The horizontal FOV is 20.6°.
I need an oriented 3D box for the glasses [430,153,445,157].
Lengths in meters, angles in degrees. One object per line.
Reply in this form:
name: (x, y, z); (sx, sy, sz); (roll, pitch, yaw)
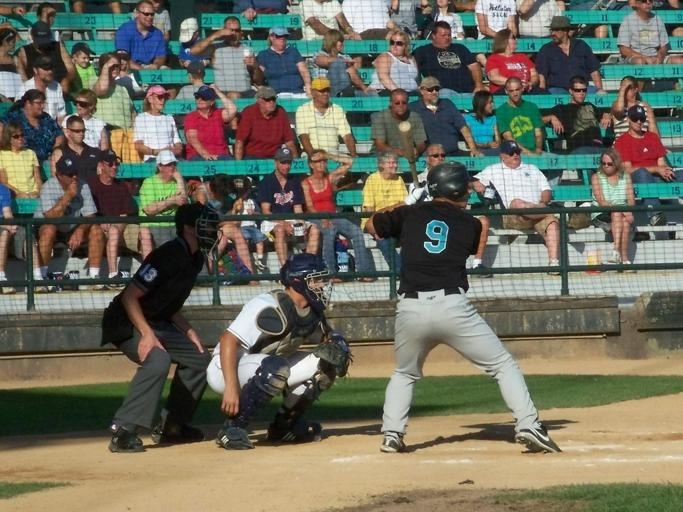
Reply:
glasses: (1.362, -1.407, 26.737); (0.221, 0.074, 0.141); (-1, 0, -24)

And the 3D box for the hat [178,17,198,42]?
hat: (-2.381, -3.455, 28.838); (0.241, 0.362, 0.189); (9, -20, 18)

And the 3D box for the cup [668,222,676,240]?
cup: (4.744, -0.343, 27.168); (0.144, 0.248, 0.267); (-1, 1, 29)

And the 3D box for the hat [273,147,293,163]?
hat: (-0.855, -1.407, 26.932); (0.226, 0.211, 0.266); (-1, 0, 2)

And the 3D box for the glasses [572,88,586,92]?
glasses: (3.635, -2.496, 28.676); (0.221, 0.054, 0.146); (-1, 0, -20)

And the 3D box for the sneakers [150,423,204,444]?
sneakers: (-1.985, 2.104, 22.512); (0.657, 0.281, 0.235); (-4, 10, -16)

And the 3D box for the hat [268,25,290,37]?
hat: (-0.990, -3.403, 28.786); (0.270, 0.136, 0.377); (-2, 5, -14)

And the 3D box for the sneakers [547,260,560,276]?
sneakers: (2.938, 0.184, 26.284); (0.152, 0.217, 0.223); (0, -2, -44)

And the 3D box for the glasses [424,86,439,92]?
glasses: (1.287, -2.448, 27.888); (0.264, 0.089, 0.147); (-1, 0, -9)

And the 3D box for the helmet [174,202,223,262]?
helmet: (-1.687, -0.353, 22.436); (0.593, 0.544, 0.478); (1, 7, 4)

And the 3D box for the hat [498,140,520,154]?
hat: (2.417, -1.549, 27.417); (0.310, 0.218, 0.294); (0, 0, 18)

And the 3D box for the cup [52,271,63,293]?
cup: (-3.940, 0.363, 25.842); (0.205, 0.244, 0.262); (4, -3, -23)

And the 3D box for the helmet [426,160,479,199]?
helmet: (1.257, -0.852, 21.920); (0.504, 0.402, 0.370); (-12, 14, -9)

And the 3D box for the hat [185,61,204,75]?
hat: (-2.222, -2.789, 28.339); (0.249, 0.181, 0.346); (2, 7, -9)

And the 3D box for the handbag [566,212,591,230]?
handbag: (3.313, -0.459, 26.407); (0.300, 0.286, 0.189); (-1, 4, 1)

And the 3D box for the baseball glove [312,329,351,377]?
baseball glove: (-0.096, 1.175, 22.373); (0.331, 0.440, 0.512); (41, -11, 1)

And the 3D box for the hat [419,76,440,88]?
hat: (1.278, -2.537, 27.915); (0.267, 0.186, 0.181); (-1, 1, 1)

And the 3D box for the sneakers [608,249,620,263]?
sneakers: (3.861, 0.023, 26.737); (0.180, 0.171, 0.081); (-1, 1, 10)

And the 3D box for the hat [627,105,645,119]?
hat: (4.404, -2.110, 28.195); (0.268, 0.238, 0.183); (-1, 1, 8)

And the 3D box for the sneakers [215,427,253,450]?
sneakers: (-1.276, 2.149, 22.058); (0.245, 0.143, 0.369); (2, -2, -42)

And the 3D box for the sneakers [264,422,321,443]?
sneakers: (-0.575, 2.113, 22.349); (0.520, 0.182, 0.264); (-2, 2, 0)

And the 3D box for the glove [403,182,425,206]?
glove: (0.918, -0.720, 23.580); (0.296, 0.140, 0.344); (-6, 23, 2)

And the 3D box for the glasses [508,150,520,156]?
glasses: (2.502, -1.469, 27.320); (0.168, 0.077, 0.076); (-1, 1, -39)
